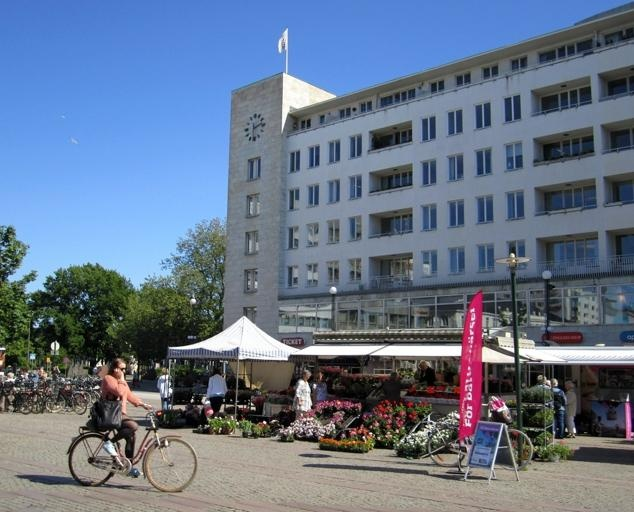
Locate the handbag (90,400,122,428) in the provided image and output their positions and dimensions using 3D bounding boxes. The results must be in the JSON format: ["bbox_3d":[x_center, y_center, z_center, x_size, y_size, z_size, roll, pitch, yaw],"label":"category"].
[{"bbox_3d":[-3.991,3.017,12.766,0.433,0.475,0.262,1,-19,-5],"label":"handbag"}]

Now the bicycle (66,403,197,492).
[{"bbox_3d":[-3.545,3.696,12.810,2.508,1.562,1.007,4,2,1],"label":"bicycle"}]

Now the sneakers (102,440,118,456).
[{"bbox_3d":[-3.937,3.678,12.904,0.154,0.367,0.187,-30,1,6],"label":"sneakers"}]
